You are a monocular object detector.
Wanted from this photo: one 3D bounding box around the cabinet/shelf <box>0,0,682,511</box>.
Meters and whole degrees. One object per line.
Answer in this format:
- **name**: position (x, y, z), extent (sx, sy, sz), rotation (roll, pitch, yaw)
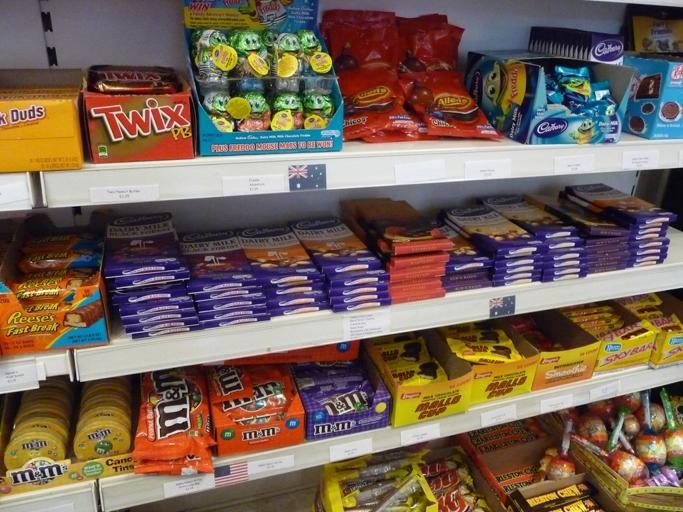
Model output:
- **cabinet/shelf**: position (-0.009, -0.036, 1.765), extent (2.735, 1.189, 0.661), rotation (-6, 26, -16)
